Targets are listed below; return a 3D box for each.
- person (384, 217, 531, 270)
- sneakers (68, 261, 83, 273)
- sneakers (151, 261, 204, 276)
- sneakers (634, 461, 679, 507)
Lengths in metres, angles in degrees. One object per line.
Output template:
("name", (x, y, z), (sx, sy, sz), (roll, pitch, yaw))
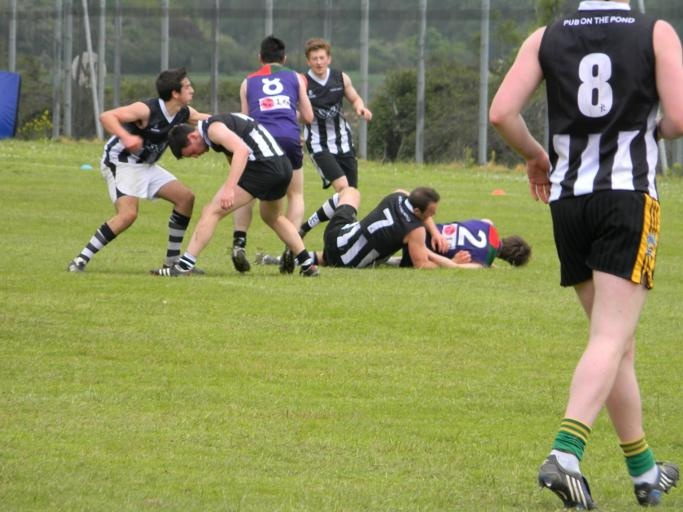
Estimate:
("person", (1.127, -0.100, 12.008), (1.370, 0.553, 0.413), (2, -30, -12))
("sneakers", (-2.277, 0.089, 10.828), (0.137, 0.081, 0.157), (0, 12, -1))
("sneakers", (-1.392, 0.124, 10.746), (0.446, 0.191, 0.162), (3, 0, 8))
("sneakers", (1.660, 1.175, 6.544), (0.360, 0.190, 0.146), (-8, 14, -34))
